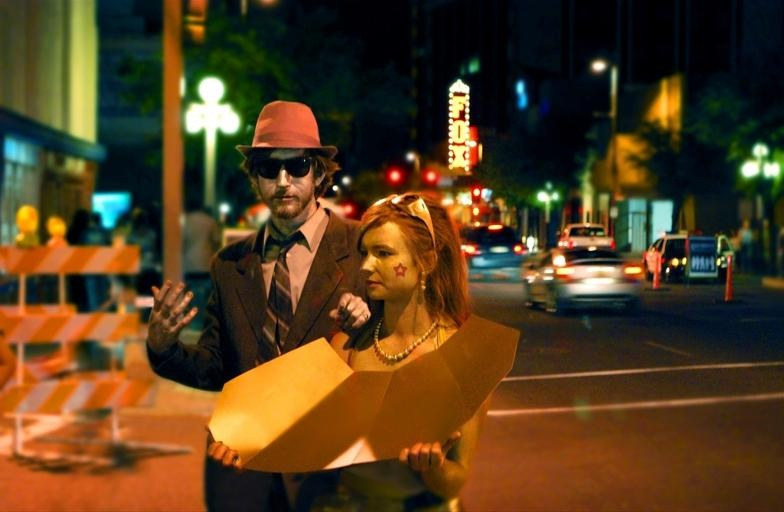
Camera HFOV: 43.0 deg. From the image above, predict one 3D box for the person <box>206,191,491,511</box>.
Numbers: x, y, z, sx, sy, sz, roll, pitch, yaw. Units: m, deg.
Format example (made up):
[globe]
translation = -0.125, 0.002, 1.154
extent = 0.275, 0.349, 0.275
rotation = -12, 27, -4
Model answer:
[person]
translation = -0.013, 0.584, 5.703
extent = 1.068, 1.877, 0.704
rotation = 0, 3, -7

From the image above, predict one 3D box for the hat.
[hat]
translation = -0.668, -0.822, 6.372
extent = 0.349, 0.263, 0.439
rotation = -1, -5, 21

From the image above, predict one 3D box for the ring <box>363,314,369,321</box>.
[ring]
translation = -0.153, 0.359, 5.855
extent = 0.034, 0.010, 0.036
rotation = -47, -4, -5

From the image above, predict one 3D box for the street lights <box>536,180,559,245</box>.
[street lights]
translation = 1.252, -0.363, 8.059
extent = 0.147, 0.480, 0.176
rotation = -3, 4, -41
